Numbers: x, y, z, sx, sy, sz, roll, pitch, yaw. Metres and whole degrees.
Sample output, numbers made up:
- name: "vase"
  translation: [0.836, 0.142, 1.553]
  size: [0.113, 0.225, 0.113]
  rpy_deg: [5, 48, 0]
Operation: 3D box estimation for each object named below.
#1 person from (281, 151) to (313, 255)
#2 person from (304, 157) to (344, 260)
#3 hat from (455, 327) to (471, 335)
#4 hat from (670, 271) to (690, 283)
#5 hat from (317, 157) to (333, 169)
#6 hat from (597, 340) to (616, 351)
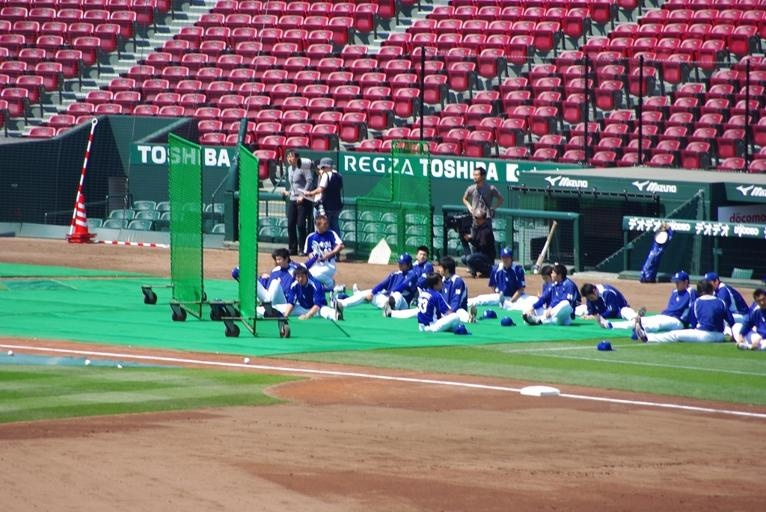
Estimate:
- name: "person"
  translation: [-2.334, -1.510, 49.911]
  size: [0.970, 2.630, 0.846]
  rpy_deg: [1, 0, 1]
- name: "person"
  translation: [-1.587, -1.572, 49.304]
  size: [0.850, 2.157, 0.769]
  rpy_deg: [1, 0, 3]
- name: "hat"
  translation: [1.769, 1.686, 42.439]
  size: [0.363, 0.211, 0.238]
  rpy_deg: [2, -2, -1]
- name: "hat"
  translation: [6.732, 0.464, 42.019]
  size: [0.453, 0.262, 0.319]
  rpy_deg: [-2, 0, 0]
- name: "hat"
  translation: [-1.590, -2.504, 49.185]
  size: [0.357, 0.315, 0.472]
  rpy_deg: [2, -2, -2]
- name: "hat"
  translation: [4.900, 1.996, 41.240]
  size: [0.370, 0.244, 0.513]
  rpy_deg: [2, -2, 5]
